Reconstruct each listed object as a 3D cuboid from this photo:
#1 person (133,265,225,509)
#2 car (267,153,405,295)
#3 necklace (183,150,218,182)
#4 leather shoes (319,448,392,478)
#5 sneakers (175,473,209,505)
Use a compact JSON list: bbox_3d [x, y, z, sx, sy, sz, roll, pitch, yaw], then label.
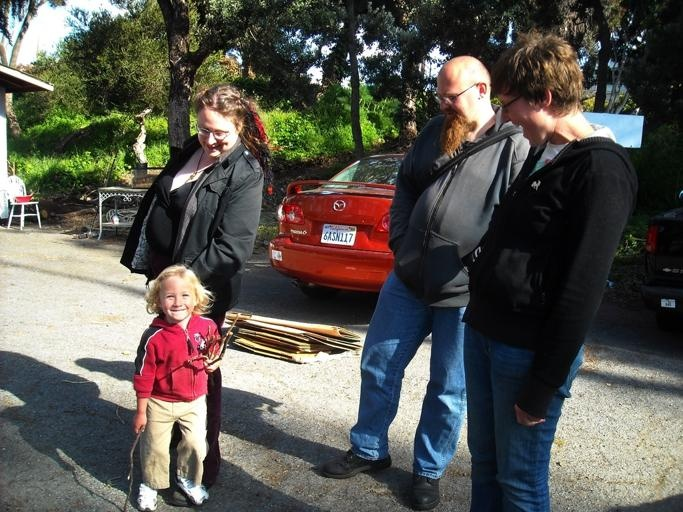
[{"bbox_3d":[-0.921,0.735,3.133,0.464,1.327,0.307,-1,14,-15],"label":"person"},{"bbox_3d":[0.071,-0.279,6.352,1.071,0.911,2.024,4,14,26],"label":"car"},{"bbox_3d":[-0.849,-0.541,3.413,0.124,0.119,0.218,27,57,35],"label":"necklace"},{"bbox_3d":[0.080,1.279,3.567,0.452,0.199,0.172,2,0,-17],"label":"leather shoes"},{"bbox_3d":[-0.858,1.345,3.237,0.218,0.108,0.088,43,-17,15],"label":"sneakers"}]
